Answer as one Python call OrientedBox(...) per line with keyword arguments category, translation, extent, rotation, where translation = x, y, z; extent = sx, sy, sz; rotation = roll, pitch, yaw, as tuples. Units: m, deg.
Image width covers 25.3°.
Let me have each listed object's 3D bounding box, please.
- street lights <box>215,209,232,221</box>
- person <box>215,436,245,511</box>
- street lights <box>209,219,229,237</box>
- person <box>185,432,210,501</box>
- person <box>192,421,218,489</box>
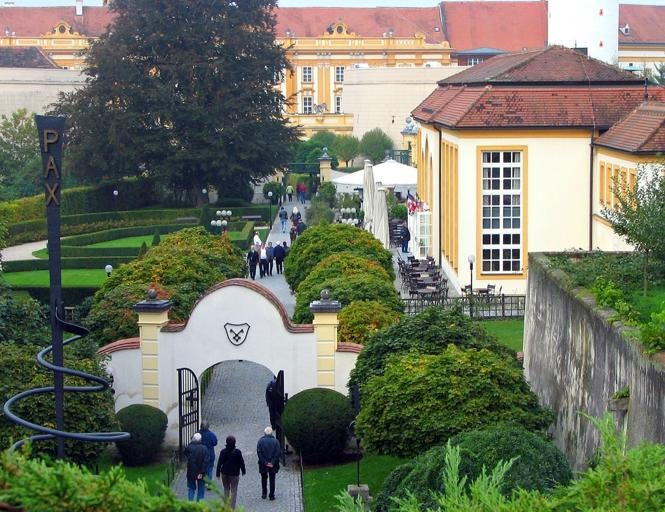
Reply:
OrientedBox(category="street lights", translation=(-5.511, -2.130, 76.598), extent=(0.679, 0.452, 0.905), rotation=(-2, 6, -9))
OrientedBox(category="person", translation=(-2.715, 5.649, 40.107), extent=(0.909, 2.131, 0.764), rotation=(-1, 3, -16))
OrientedBox(category="street lights", translation=(-5.452, -1.469, 71.331), extent=(0.892, 1.200, 0.307), rotation=(-1, 1, -16))
OrientedBox(category="person", translation=(-3.619, 5.605, 39.841), extent=(0.631, 1.755, 0.472), rotation=(0, -3, -4))
OrientedBox(category="person", translation=(-3.371, 5.409, 40.708), extent=(0.470, 1.795, 0.495), rotation=(3, 4, 25))
